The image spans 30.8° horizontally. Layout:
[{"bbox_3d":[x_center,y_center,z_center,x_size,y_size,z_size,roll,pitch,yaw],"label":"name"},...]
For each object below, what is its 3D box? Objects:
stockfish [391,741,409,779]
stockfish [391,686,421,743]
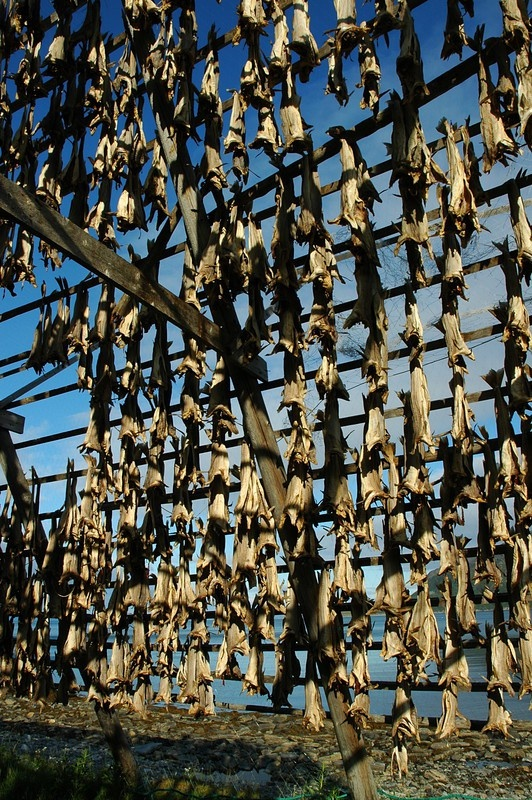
[{"bbox_3d":[0.386,1.033,2.814,0.042,0.127,0.172,-1,-11,7],"label":"stockfish"},{"bbox_3d":[0.401,0.906,2.799,0.073,0.160,0.144,-1,-11,8],"label":"stockfish"}]
